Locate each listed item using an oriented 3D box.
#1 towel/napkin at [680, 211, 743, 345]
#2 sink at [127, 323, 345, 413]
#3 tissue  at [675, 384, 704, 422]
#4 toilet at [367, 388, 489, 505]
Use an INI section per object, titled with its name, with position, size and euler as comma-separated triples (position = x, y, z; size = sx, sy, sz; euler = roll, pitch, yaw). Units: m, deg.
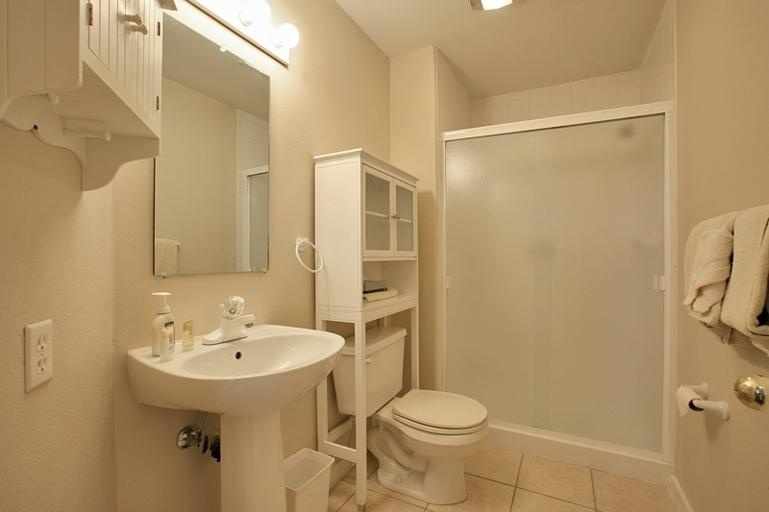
[towel/napkin]
position = 1.327, 0.063, 2.366
size = 0.145, 0.459, 0.451
euler = 5, 6, 6
[sink]
position = -0.709, 0.492, 2.567
size = 0.452, 0.162, 0.539
euler = 2, 1, 22
[tissue ]
position = 1.342, 0.629, 2.511
size = 0.100, 0.120, 0.159
euler = 0, 0, 34
[toilet]
position = 0.261, 1.074, 3.320
size = 0.644, 0.449, 0.468
euler = -2, 0, 35
